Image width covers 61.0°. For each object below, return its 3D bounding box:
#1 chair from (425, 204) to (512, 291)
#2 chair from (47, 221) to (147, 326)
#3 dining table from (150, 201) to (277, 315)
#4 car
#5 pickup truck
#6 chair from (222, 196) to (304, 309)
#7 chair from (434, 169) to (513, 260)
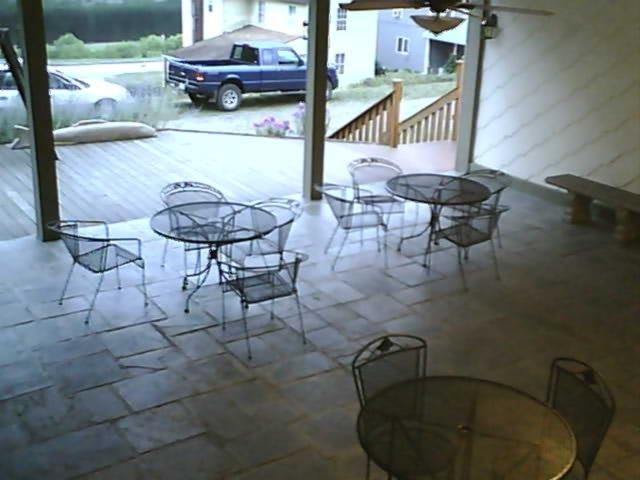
[{"bbox_3d":[1.670,0.113,6.098,0.669,0.759,0.591,-22,44,-24],"label":"chair"},{"bbox_3d":[-2.240,0.370,5.411,0.704,0.797,0.691,-21,37,-40],"label":"chair"},{"bbox_3d":[-1.073,0.260,5.577,1.270,0.862,1.186,10,29,9],"label":"dining table"},{"bbox_3d":[-4.629,-2.637,10.137,2.457,0.758,1.056,-10,29,-20],"label":"car"},{"bbox_3d":[-1.320,-3.501,12.199,4.001,1.288,1.748,-13,32,-27],"label":"pickup truck"},{"bbox_3d":[-0.564,0.159,5.329,0.809,0.965,0.839,-4,36,-15],"label":"chair"},{"bbox_3d":[1.779,-0.256,6.308,0.766,0.906,0.812,-13,32,-18],"label":"chair"}]
